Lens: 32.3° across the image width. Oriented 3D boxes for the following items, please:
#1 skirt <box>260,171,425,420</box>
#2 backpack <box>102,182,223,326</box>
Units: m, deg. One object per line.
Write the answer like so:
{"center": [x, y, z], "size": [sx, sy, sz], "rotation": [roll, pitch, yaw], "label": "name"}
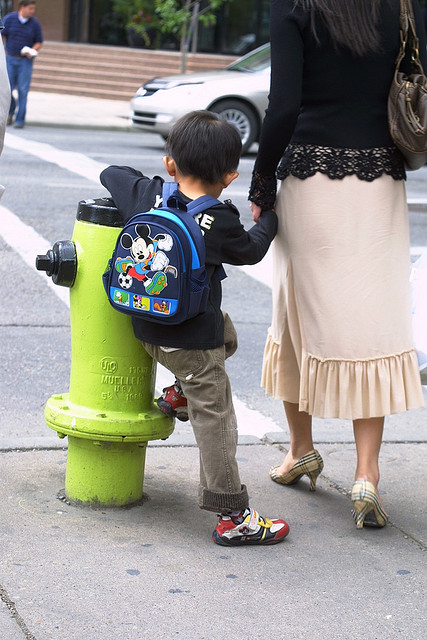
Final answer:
{"center": [0.496, -0.082, 2.682], "size": [0.658, 0.899, 0.346], "rotation": [10, 11, 12], "label": "skirt"}
{"center": [-0.130, -0.205, 2.249], "size": [0.348, 0.389, 0.247], "rotation": [11, 11, 29], "label": "backpack"}
